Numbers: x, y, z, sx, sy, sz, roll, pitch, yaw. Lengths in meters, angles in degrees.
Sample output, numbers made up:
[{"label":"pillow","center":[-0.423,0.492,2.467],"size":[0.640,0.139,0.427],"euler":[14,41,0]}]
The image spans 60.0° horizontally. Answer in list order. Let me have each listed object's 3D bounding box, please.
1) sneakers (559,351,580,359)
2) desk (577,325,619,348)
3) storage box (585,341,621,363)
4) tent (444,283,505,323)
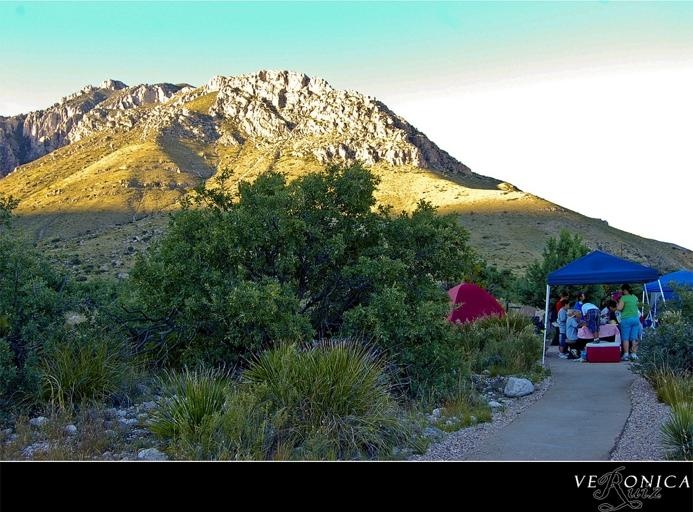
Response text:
[{"label":"sneakers","center":[6.233,2.756,16.807],"size":[0.615,0.290,0.221],"euler":[1,-3,9]},{"label":"desk","center":[6.964,2.119,16.570],"size":[0.653,0.380,0.697],"euler":[0,1,15]},{"label":"storage box","center":[6.728,2.533,15.747],"size":[0.504,0.537,0.769],"euler":[0,-5,19]},{"label":"tent","center":[4.158,1.563,19.858],"size":[1.693,1.263,1.775],"euler":[1,4,38]}]
